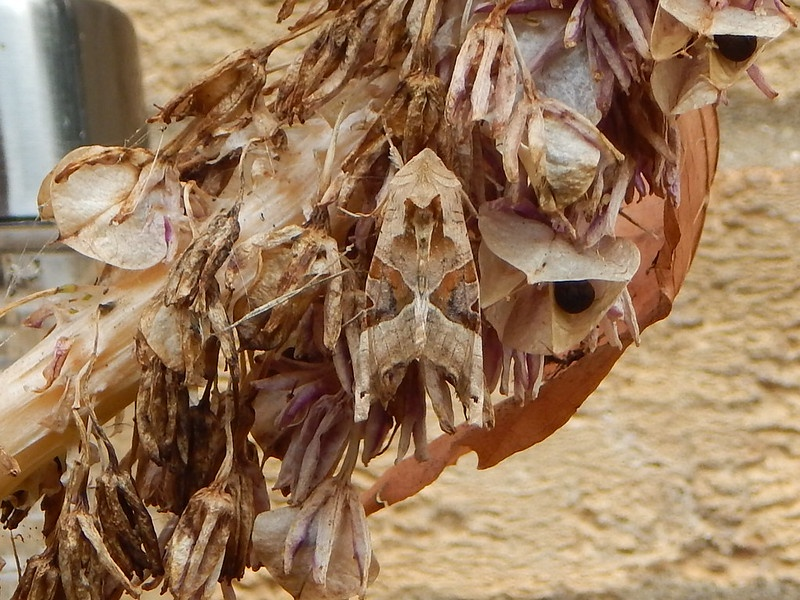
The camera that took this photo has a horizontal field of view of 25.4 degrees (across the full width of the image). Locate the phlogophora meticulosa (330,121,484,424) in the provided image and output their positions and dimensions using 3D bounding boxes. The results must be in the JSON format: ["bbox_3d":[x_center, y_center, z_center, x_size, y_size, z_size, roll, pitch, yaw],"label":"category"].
[{"bbox_3d":[0.006,-0.016,1.058,0.103,0.159,0.040,2,6,7],"label":"phlogophora meticulosa"}]
